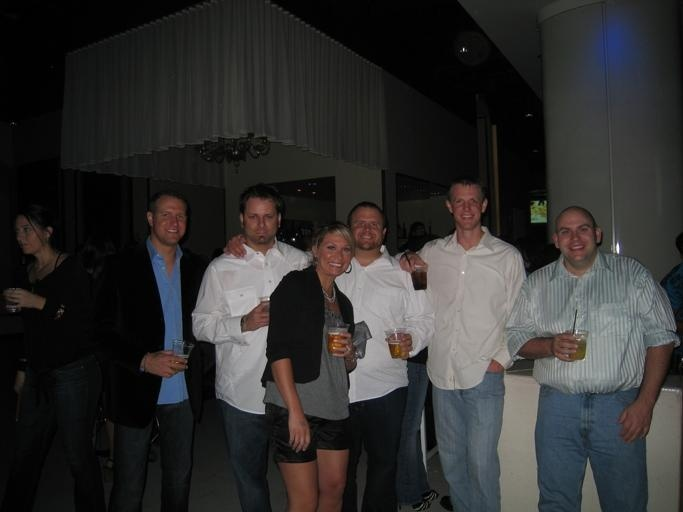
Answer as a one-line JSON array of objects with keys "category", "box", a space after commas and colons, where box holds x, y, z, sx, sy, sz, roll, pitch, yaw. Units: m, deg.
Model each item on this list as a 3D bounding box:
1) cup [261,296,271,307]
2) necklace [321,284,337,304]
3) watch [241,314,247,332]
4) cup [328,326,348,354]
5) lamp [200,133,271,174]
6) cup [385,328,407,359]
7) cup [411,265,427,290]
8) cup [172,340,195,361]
[{"category": "cup", "box": [-0.435, 0.274, 3.062, 0.043, 0.076, 0.072, 0, -2, 5]}, {"category": "necklace", "box": [-0.056, 0.219, 3.011, 0.075, 0.097, 0.023, 1, -8, -42]}, {"category": "watch", "box": [-0.576, 0.401, 3.043, 0.026, 0.070, 0.064, -3, 2, -37]}, {"category": "cup", "box": [-0.022, 0.466, 2.837, 0.129, 0.166, 0.118, 1, -12, 0]}, {"category": "lamp", "box": [-1.233, -1.272, 6.132, 0.811, 0.251, 0.720, -1, 2, 31]}, {"category": "cup", "box": [0.347, 0.552, 3.186, 0.110, 0.198, 0.156, -3, 2, -24]}, {"category": "cup", "box": [0.522, 0.135, 3.377, 0.130, 0.174, 0.123, -1, -5, 0]}, {"category": "cup", "box": [-0.950, 0.566, 3.065, 0.130, 0.145, 0.087, 6, -3, -16]}]
